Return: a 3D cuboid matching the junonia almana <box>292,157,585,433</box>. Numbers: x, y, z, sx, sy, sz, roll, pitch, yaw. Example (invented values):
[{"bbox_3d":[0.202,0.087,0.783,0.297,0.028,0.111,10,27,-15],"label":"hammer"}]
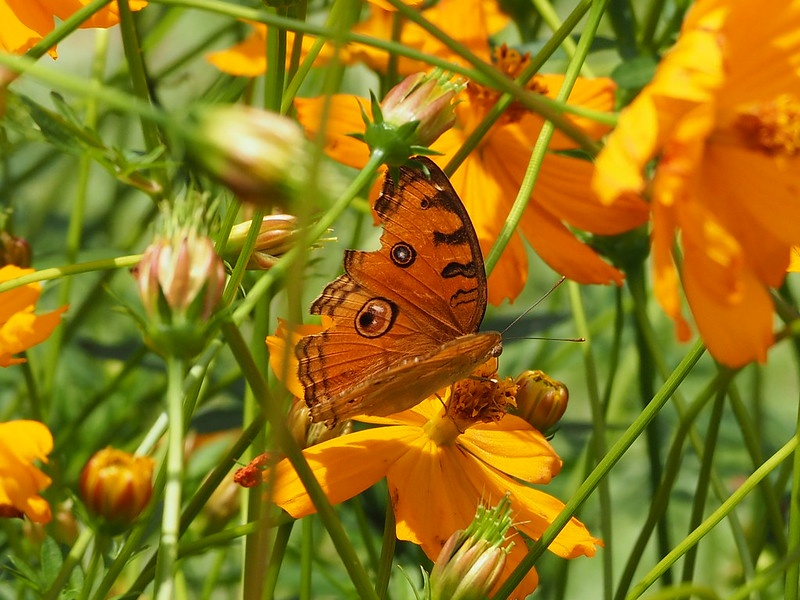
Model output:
[{"bbox_3d":[0.023,0.002,0.697,0.169,0.148,0.190,13,22,-11],"label":"junonia almana"}]
